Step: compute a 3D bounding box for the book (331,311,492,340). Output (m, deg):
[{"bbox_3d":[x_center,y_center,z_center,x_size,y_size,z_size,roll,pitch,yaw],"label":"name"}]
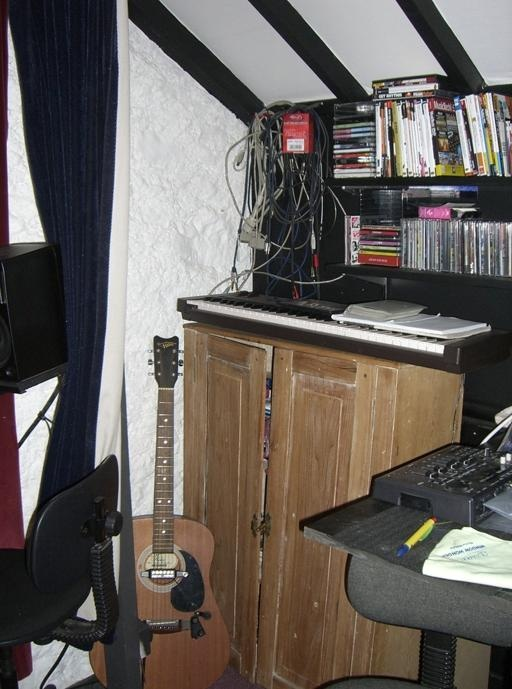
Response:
[{"bbox_3d":[0.438,-0.065,1.576,0.299,0.093,0.378,-13,10,-43],"label":"book"}]
